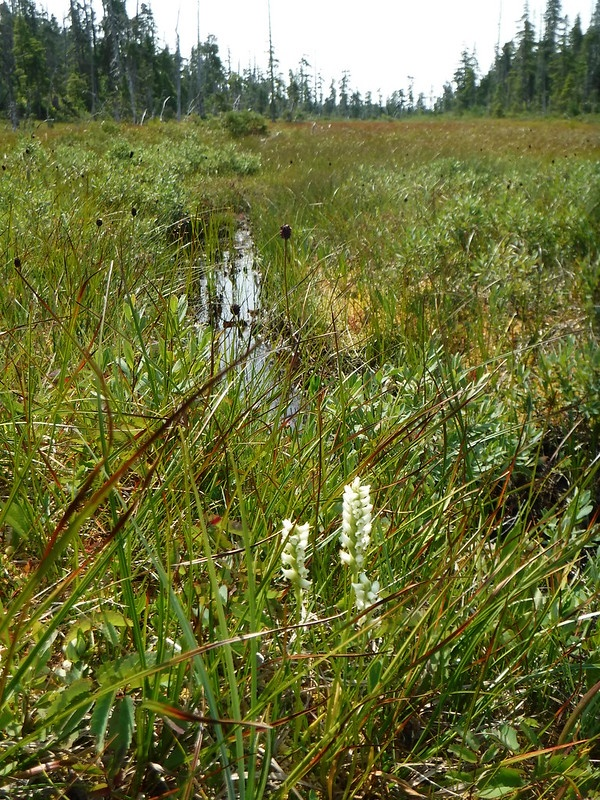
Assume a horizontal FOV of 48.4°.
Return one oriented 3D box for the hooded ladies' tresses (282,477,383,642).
[{"bbox_3d":[0.054,0.287,1.168,0.165,0.435,0.115,-3,42,-2],"label":"hooded ladies' tresses"}]
